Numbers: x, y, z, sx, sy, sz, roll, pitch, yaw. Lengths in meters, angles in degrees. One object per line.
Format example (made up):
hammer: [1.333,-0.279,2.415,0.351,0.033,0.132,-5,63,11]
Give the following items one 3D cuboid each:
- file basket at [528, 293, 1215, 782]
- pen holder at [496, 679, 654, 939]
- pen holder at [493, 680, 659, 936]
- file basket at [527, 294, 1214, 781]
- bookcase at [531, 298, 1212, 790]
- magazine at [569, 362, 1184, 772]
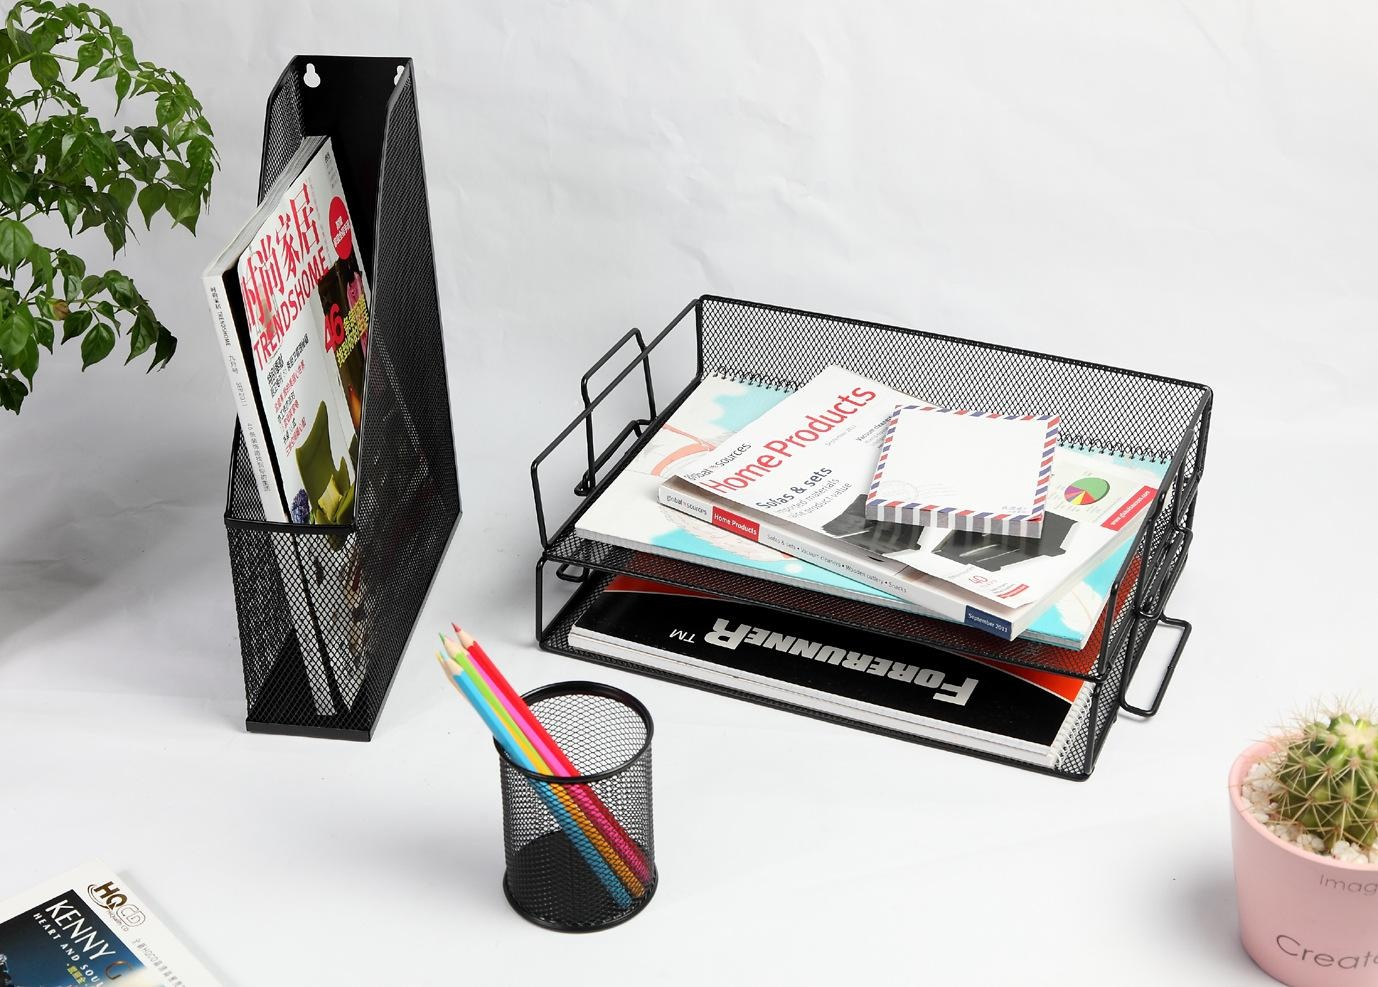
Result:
file basket: [0.148,0.019,1.367,0.649,0.226,0.457,17,46,18]
pen holder: [-0.087,0.244,0.968,0.130,0.137,0.128,21,41,28]
pen holder: [-0.087,0.242,0.970,0.128,0.134,0.130,20,40,27]
file basket: [0.144,0.093,1.411,0.648,0.226,0.458,17,46,18]
bookcase: [0.149,0.092,1.347,0.648,0.210,0.457,16,45,18]
magazine: [0.171,0.052,1.245,0.478,0.217,0.331,18,29,17]
